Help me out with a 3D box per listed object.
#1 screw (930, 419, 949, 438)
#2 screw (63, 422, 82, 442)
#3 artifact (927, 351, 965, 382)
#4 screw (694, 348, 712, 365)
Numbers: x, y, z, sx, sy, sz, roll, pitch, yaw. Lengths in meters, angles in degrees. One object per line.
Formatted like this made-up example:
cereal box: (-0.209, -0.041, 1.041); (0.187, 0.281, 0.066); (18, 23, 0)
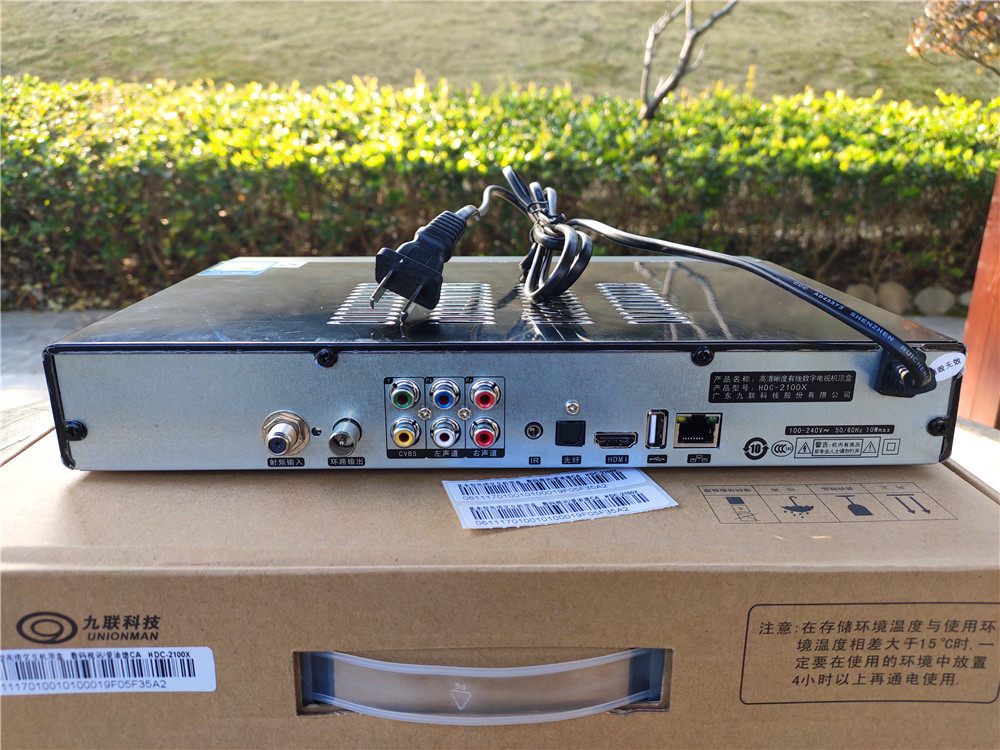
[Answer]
screw: (0.668, 0.082, 1.603); (0.026, 0.026, 0.013); (1, 9, -2)
screw: (-0.647, 0.086, 1.590); (0.025, 0.023, 0.013); (5, 27, -7)
artifact: (0.674, -0.010, 1.588); (0.055, 0.047, 0.015); (-5, 25, -15)
screw: (0.304, -0.025, 1.582); (0.032, 0.025, 0.008); (5, 25, 6)
